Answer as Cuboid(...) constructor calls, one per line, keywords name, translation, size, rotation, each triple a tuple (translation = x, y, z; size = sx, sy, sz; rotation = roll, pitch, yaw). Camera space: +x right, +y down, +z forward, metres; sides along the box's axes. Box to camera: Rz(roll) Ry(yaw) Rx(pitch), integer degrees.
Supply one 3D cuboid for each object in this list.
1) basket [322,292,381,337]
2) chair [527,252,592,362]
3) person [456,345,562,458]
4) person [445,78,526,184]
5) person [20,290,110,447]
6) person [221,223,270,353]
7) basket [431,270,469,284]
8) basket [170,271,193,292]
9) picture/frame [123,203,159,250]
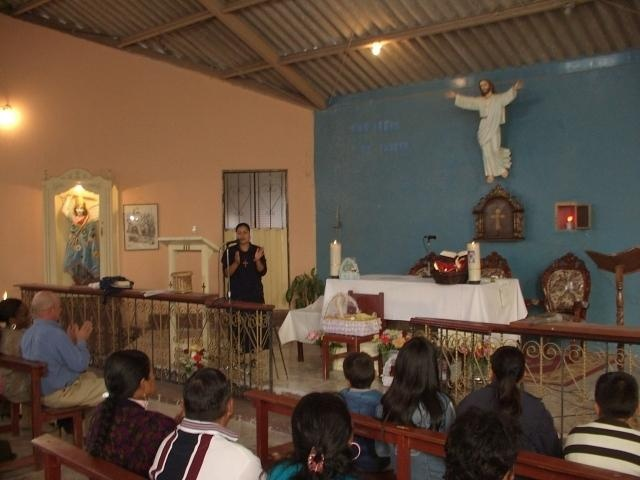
Cuboid(name="basket", translation=(0.304, 0.839, 5.970), size=(0.460, 0.371, 0.476), rotation=(3, 5, 33))
Cuboid(name="chair", translation=(3.101, 0.826, 7.197), size=(0.774, 1.342, 1.220), rotation=(-2, -3, 26))
Cuboid(name="person", translation=(1.167, 1.127, 3.575), size=(0.558, 1.055, 0.507), rotation=(0, 27, 9))
Cuboid(name="person", translation=(2.401, -1.544, 7.860), size=(0.833, 1.377, 0.613), rotation=(-3, -4, 34))
Cuboid(name="person", translation=(-2.264, 1.193, 4.963), size=(0.565, 1.493, 0.787), rotation=(0, 3, 17))
Cuboid(name="person", translation=(-0.871, 0.560, 6.460), size=(0.529, 1.530, 1.371), rotation=(0, -3, -10))
Cuboid(name="basket", translation=(1.278, 0.362, 5.466), size=(0.331, 0.137, 0.175), rotation=(-1, -3, 13))
Cuboid(name="basket", translation=(-1.570, 0.459, 6.339), size=(0.209, 0.190, 0.240), rotation=(0, -2, 4))
Cuboid(name="picture/frame", translation=(-3.302, -0.271, 10.330), size=(0.744, 1.120, 0.075), rotation=(0, 2, 9))
